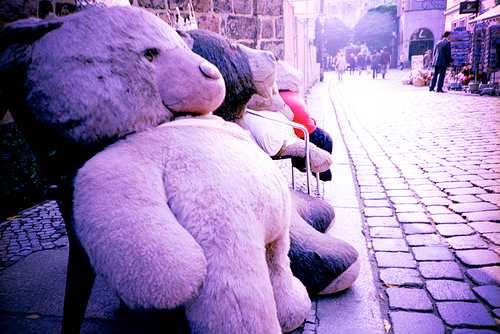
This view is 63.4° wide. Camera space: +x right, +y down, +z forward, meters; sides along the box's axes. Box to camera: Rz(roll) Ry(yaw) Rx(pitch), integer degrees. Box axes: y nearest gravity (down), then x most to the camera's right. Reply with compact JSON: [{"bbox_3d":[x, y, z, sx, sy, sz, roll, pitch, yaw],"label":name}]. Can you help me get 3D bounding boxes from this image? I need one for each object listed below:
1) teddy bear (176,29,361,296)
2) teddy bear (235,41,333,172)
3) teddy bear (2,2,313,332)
[{"bbox_3d":[0.082,-0.072,3.364,1.737,2.188,1.494,-3,7,-12],"label":"teddy bear"},{"bbox_3d":[0.247,-0.432,3.261,0.684,1.082,0.849,-12,26,7],"label":"teddy bear"},{"bbox_3d":[-0.420,0.027,2.577,1.462,1.759,1.409,-1,-1,14],"label":"teddy bear"}]
